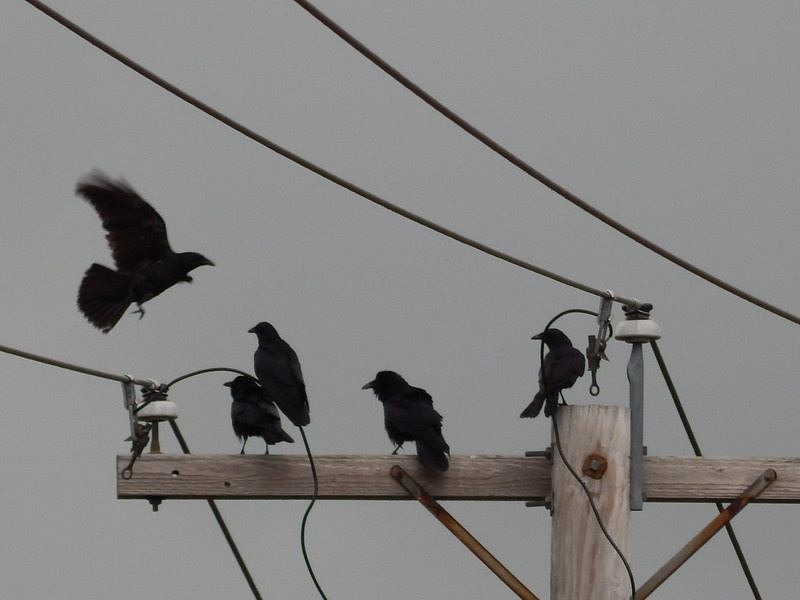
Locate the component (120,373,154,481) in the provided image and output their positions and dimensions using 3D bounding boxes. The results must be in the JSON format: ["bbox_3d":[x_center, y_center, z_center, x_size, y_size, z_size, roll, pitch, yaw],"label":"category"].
[{"bbox_3d":[-1.589,0.766,12.891,0.190,0.591,0.279,4,-43,-7],"label":"component"}]
